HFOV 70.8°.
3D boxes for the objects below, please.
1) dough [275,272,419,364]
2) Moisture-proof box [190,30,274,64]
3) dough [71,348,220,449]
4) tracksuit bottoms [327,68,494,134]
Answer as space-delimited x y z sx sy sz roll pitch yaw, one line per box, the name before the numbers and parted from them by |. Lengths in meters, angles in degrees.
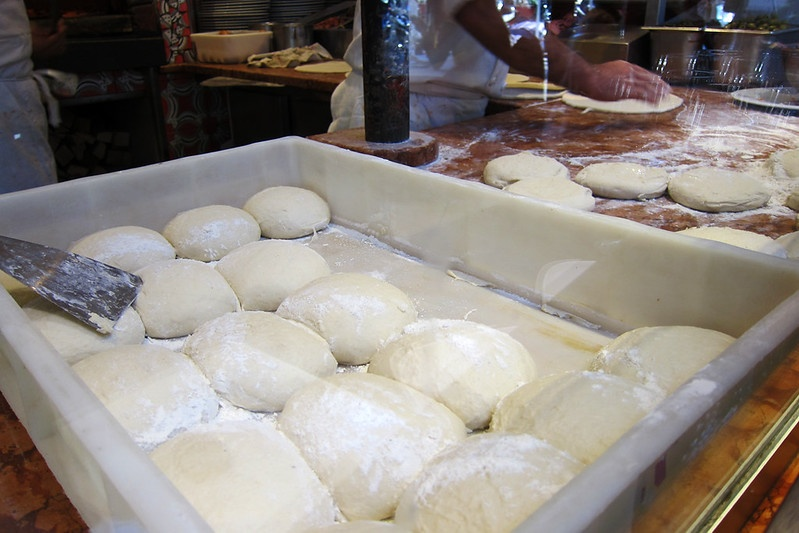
dough | -0.097 0.091 1.171 0.241 0.071 0.189 19 43 22
Moisture-proof box | -1.170 -1.461 3.797 0.585 0.221 0.269 7 28 10
dough | -0.448 0.214 1.016 0.170 0.098 0.211 -22 35 -39
tracksuit bottoms | 0.070 -0.623 2.205 0.498 0.166 0.367 -16 26 -27
